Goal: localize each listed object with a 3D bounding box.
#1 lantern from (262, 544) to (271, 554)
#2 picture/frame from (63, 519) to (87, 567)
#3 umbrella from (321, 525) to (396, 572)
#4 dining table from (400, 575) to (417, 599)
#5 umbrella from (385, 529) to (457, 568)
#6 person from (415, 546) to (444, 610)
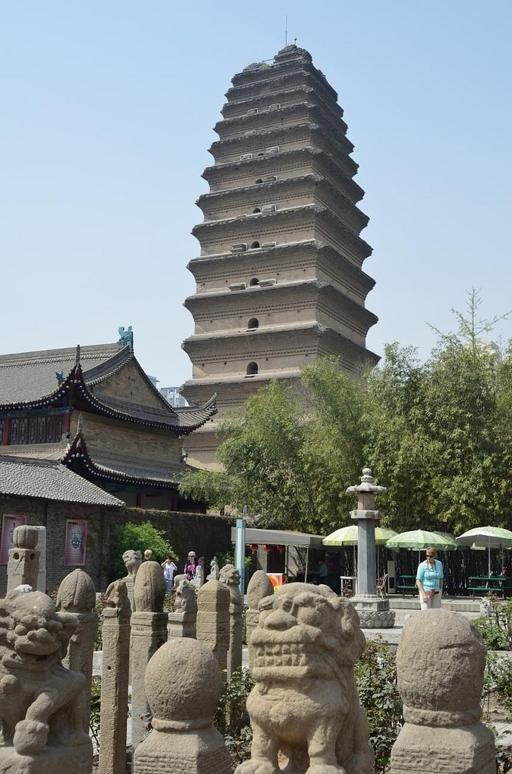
[{"bbox_3d":[0.288,4.124,22.641,0.263,0.324,0.127,3,1,-30],"label":"lantern"},{"bbox_3d":[-3.496,2.993,17.023,0.072,0.987,0.850,-7,-13,23],"label":"picture/frame"},{"bbox_3d":[1.734,2.589,14.789,0.924,0.574,0.894,-3,-16,6],"label":"umbrella"},{"bbox_3d":[2.862,3.716,16.670,0.375,0.369,1.078,-1,-11,9],"label":"dining table"},{"bbox_3d":[2.651,2.466,14.222,1.353,0.840,1.355,0,-8,3],"label":"umbrella"},{"bbox_3d":[1.725,1.888,8.737,0.230,0.590,0.900,-1,-11,12],"label":"person"}]
